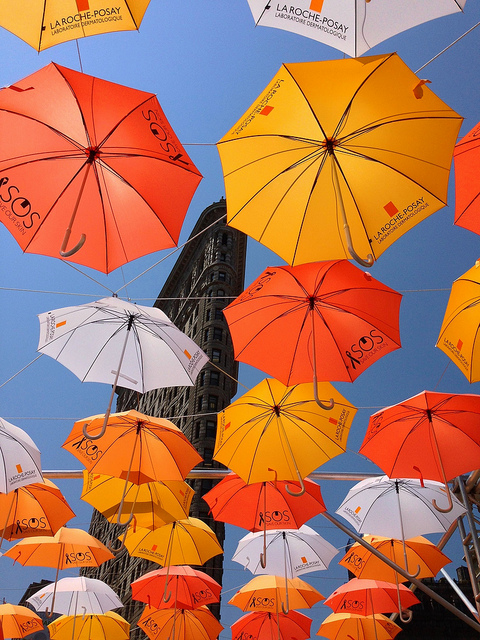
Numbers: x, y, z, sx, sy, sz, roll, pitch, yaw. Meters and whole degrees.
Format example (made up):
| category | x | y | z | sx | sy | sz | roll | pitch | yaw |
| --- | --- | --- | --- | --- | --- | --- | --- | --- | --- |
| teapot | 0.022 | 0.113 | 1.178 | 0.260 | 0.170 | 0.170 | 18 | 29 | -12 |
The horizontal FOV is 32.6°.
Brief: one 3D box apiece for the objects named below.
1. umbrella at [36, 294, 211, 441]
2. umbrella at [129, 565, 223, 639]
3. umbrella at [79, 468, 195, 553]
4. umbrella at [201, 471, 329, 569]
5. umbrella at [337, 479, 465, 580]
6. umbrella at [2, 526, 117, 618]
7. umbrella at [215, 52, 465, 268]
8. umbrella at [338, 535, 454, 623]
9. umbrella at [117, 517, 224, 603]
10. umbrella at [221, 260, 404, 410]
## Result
| category | x | y | z | sx | sy | sz | roll | pitch | yaw |
| --- | --- | --- | --- | --- | --- | --- | --- | --- | --- |
| umbrella | -1.645 | 0.634 | 11.259 | 2.379 | 2.351 | 1.844 | 5 | -72 | -26 |
| umbrella | -1.080 | 4.533 | 13.840 | 1.269 | 1.057 | 1.282 | -1 | -62 | -4 |
| umbrella | -1.489 | 2.555 | 11.773 | 1.327 | 0.826 | 1.352 | -36 | -61 | 14 |
| umbrella | 0.297 | 2.785 | 11.134 | 1.656 | 1.254 | 1.636 | 11 | -37 | -12 |
| umbrella | 2.407 | 2.979 | 12.529 | 1.496 | 1.468 | 1.399 | -25 | -90 | 28 |
| umbrella | -2.832 | 3.546 | 13.163 | 1.621 | 1.451 | 1.648 | 0 | -59 | -5 |
| umbrella | 0.876 | -1.393 | 7.369 | 2.103 | 0.611 | 1.761 | -26 | -58 | 18 |
| umbrella | 2.485 | 3.977 | 13.282 | 1.454 | 1.446 | 1.305 | 6 | -66 | 26 |
| umbrella | -1.148 | 4.017 | 13.212 | 1.554 | 1.514 | 1.269 | 4 | -89 | -5 |
| umbrella | 0.927 | -0.203 | 9.812 | 1.746 | 1.468 | 1.731 | -22 | -64 | 22 |
